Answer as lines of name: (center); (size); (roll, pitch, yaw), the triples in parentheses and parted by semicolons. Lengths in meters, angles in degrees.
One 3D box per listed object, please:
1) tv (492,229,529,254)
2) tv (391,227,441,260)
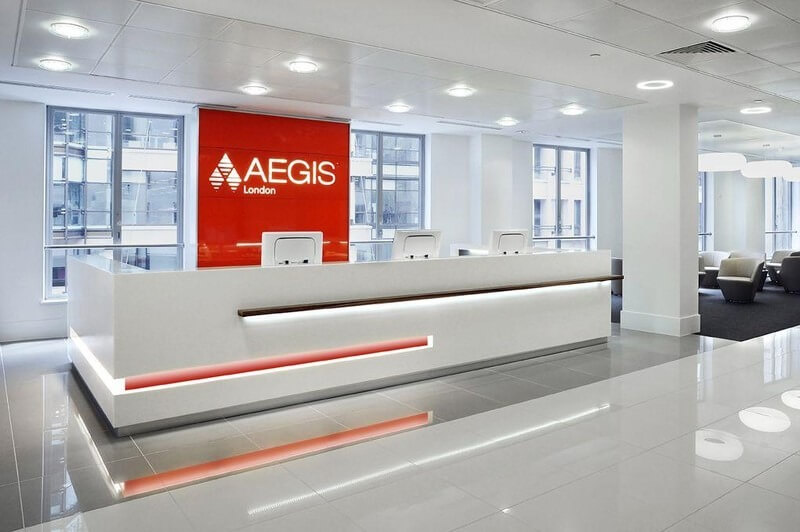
tv: (1.756, -0.385, 7.412); (0.719, 0.352, 0.234); (-7, 11, -39)
tv: (0.253, -0.297, 6.530); (0.794, 0.393, 0.319); (-7, 11, -41)
